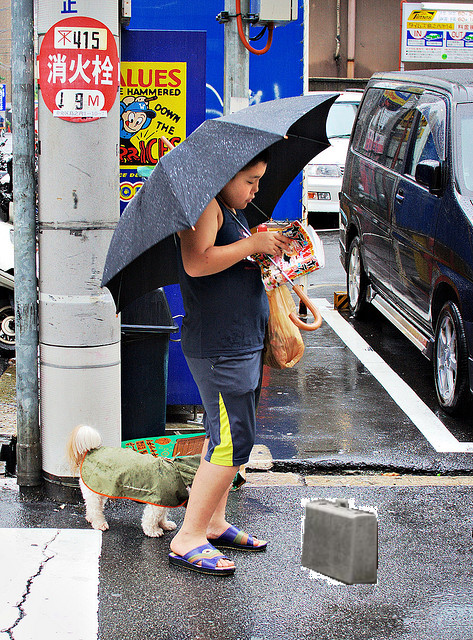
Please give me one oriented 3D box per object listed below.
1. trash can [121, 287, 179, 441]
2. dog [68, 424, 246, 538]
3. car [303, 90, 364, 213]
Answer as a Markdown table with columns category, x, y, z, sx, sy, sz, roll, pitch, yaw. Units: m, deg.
| category | x | y | z | sx | sy | sz | roll | pitch | yaw |
| --- | --- | --- | --- | --- | --- | --- | --- | --- | --- |
| trash can | -0.524 | 0.248 | 4.913 | 0.382 | 0.826 | 0.634 | 0 | 9 | -4 |
| dog | -0.288 | 0.742 | 3.754 | 0.816 | 0.528 | 0.298 | 8 | 11 | 2 |
| car | 2.090 | -3.052 | 14.982 | 1.716 | 1.930 | 3.472 | 0 | 11 | 2 |
